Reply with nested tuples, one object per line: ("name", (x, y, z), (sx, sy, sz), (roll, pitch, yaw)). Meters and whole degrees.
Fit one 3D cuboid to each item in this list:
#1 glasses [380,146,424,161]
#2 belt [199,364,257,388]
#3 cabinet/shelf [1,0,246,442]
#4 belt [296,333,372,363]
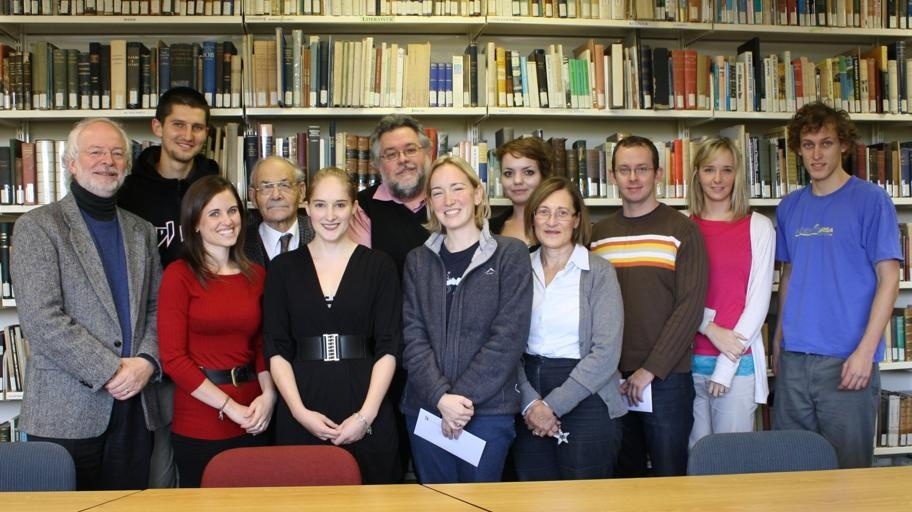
("glasses", (-0.368, -0.708, 5.791), (0.164, 0.045, 0.158), (-6, -11, -2))
("belt", (-1.391, 0.738, 5.207), (0.189, 0.067, 0.179), (0, 0, 39))
("cabinet/shelf", (-2.562, -0.426, 6.489), (0.733, 2.516, 2.013), (7, 7, 38))
("belt", (-0.744, 0.551, 5.127), (0.433, 0.167, 0.051), (-1, 1, -4))
